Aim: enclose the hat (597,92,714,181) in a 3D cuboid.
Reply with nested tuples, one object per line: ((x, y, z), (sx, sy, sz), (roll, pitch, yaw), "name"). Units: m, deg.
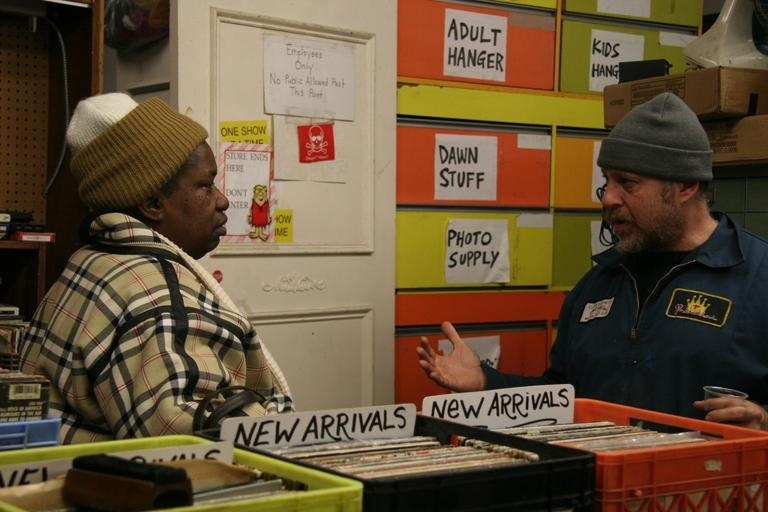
((0.971, -0.458, 2.622), (0.367, 0.262, 0.285), (7, 16, 1), "hat")

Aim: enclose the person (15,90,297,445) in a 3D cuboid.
((-0.667, -0.002, 2.186), (0.857, 1.090, 0.501), (-5, -8, 29), "person")

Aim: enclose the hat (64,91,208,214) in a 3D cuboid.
((-0.807, -0.359, 2.333), (0.408, 0.300, 0.343), (-17, 16, 22), "hat")
